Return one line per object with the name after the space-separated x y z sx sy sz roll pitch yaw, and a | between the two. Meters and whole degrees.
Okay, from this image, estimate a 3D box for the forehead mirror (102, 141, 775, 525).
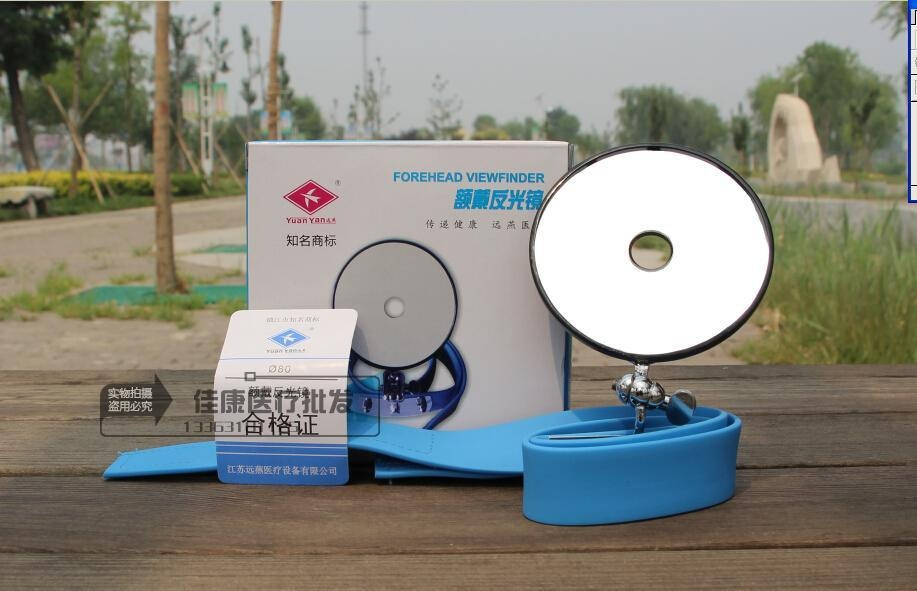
0.103 0.077 8.493 2.887 1.747 1.651 -1 8 -5 | forehead mirror

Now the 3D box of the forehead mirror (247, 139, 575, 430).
-0.244 -0.105 7.567 1.438 1.131 0.441 0 0 -1 | forehead mirror

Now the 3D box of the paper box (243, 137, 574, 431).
-0.248 -0.095 7.568 1.441 1.133 0.442 0 0 -1 | paper box
